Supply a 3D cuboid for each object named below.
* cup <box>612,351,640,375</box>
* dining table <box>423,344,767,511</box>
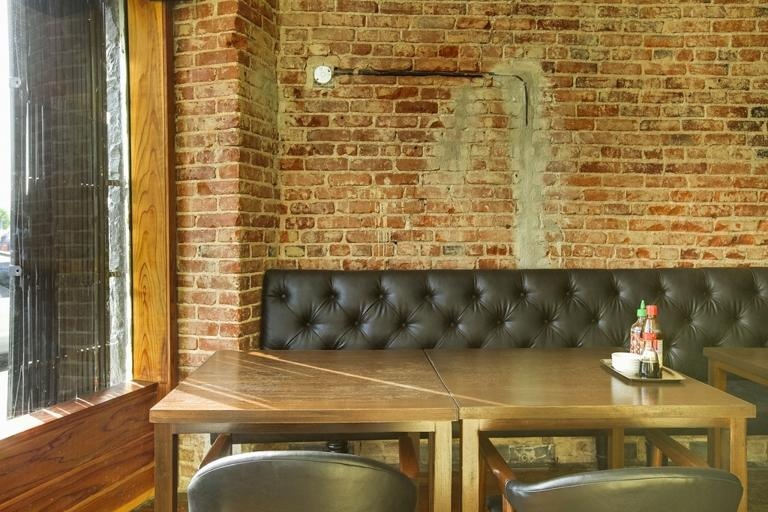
[{"bbox_3d":[1.265,0.555,4.000,0.109,0.064,0.111,-1,1,0],"label":"cup"},{"bbox_3d":[0.979,0.620,4.010,1.123,0.836,1.068,-1,2,-6],"label":"dining table"}]
